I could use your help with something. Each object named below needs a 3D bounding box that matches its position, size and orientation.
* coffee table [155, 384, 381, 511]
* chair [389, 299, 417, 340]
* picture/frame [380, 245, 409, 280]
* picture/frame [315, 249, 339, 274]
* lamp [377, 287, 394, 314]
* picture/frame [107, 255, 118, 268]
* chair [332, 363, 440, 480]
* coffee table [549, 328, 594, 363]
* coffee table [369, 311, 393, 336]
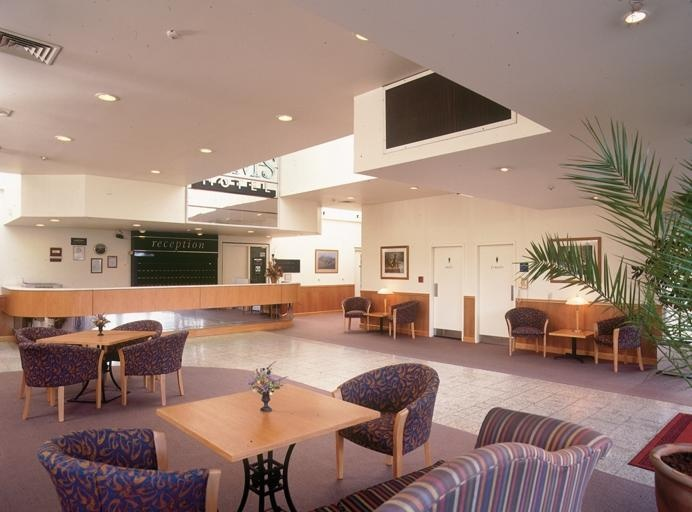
[{"bbox_3d":[-0.696,1.333,3.770,1.244,0.914,1.177,-2,5,-43],"label":"coffee table"},{"bbox_3d":[1.352,1.593,11.949,0.845,1.038,0.840,1,-4,-5],"label":"chair"},{"bbox_3d":[1.315,0.162,12.402,0.910,0.901,0.065,-3,-6,44],"label":"picture/frame"},{"bbox_3d":[-0.698,0.186,16.958,1.059,0.881,0.047,2,-3,-42],"label":"picture/frame"},{"bbox_3d":[1.062,1.185,12.373,0.580,0.831,0.577,0,-3,-1],"label":"lamp"},{"bbox_3d":[-6.282,0.132,12.472,0.026,0.359,0.315,-8,-9,44],"label":"picture/frame"},{"bbox_3d":[0.452,1.456,4.523,1.026,1.131,1.078,4,-5,-44],"label":"chair"},{"bbox_3d":[4.336,1.678,8.900,0.641,0.467,0.636,5,-8,-41],"label":"coffee table"},{"bbox_3d":[0.913,1.794,12.484,0.554,0.520,0.546,4,-5,-40],"label":"coffee table"}]
